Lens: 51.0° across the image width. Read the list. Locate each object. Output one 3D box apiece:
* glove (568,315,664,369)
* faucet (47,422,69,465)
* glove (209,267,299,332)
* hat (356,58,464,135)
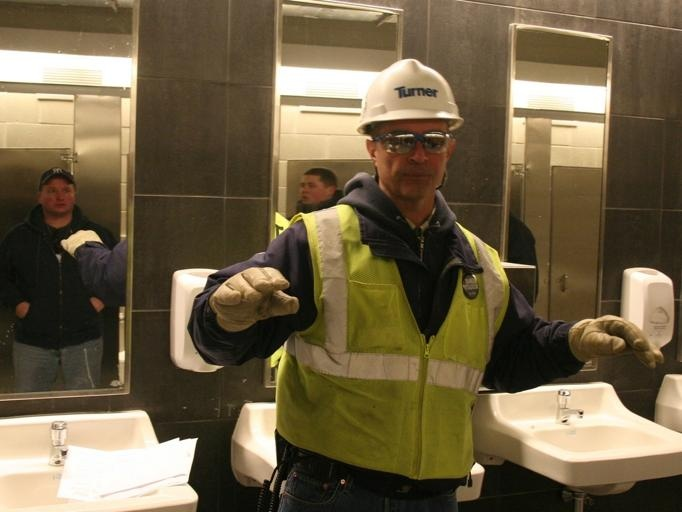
[{"bbox_3d":[0.732,0.237,1.938,0.251,0.141,0.096,4,4,39],"label":"glove"},{"bbox_3d":[-1.009,0.658,2.560,0.062,0.159,0.122,0,3,-21],"label":"faucet"},{"bbox_3d":[-0.215,0.107,1.708,0.149,0.162,0.220,0,4,-31],"label":"glove"},{"bbox_3d":[0.206,-0.470,2.091,0.191,0.139,0.254,0,-5,-6],"label":"hat"}]
